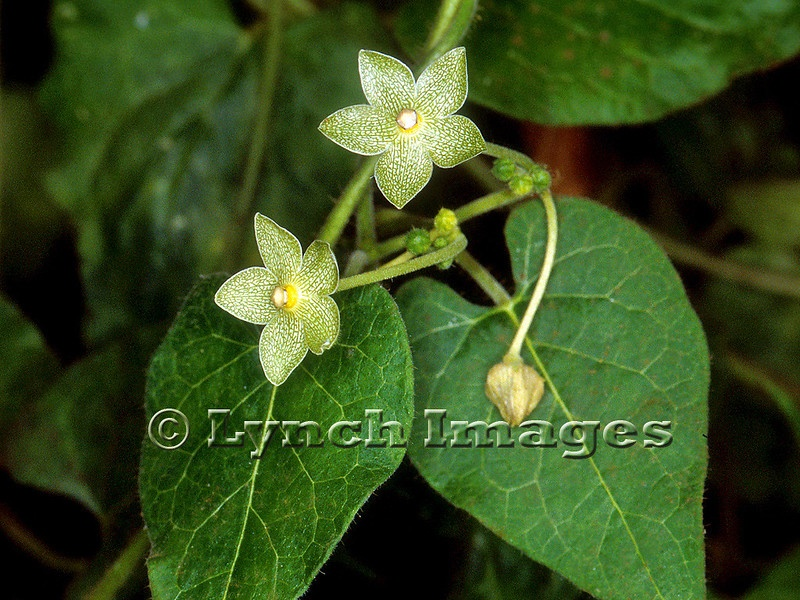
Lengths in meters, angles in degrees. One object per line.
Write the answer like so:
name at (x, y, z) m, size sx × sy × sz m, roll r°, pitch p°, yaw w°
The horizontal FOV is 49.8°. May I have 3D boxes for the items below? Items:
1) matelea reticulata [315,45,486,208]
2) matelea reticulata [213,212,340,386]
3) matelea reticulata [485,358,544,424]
matelea reticulata at (0.005, -0.227, 1.120) m, size 0.205 × 0.109 × 0.183 m, roll -27°, pitch 82°, yaw -5°
matelea reticulata at (-0.137, -0.019, 1.071) m, size 0.148 × 0.079 × 0.200 m, roll -43°, pitch 59°, yaw -7°
matelea reticulata at (0.151, 0.115, 1.120) m, size 0.073 × 0.035 × 0.098 m, roll -20°, pitch 52°, yaw 5°
